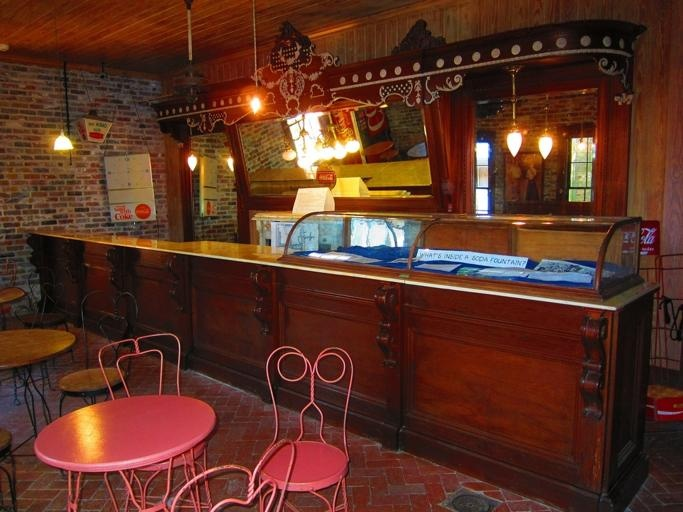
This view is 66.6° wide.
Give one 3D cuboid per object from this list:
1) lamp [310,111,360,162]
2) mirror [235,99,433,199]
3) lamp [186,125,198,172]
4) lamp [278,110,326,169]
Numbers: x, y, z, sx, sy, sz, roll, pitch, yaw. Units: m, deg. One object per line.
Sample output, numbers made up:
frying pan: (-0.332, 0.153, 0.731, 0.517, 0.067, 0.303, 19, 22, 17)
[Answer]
lamp: (-0.130, -1.910, 8.171, 0.958, 0.944, 0.207, 8, 8, 27)
mirror: (-0.052, -1.791, 8.368, 4.100, 1.545, 0.710, 8, 16, 41)
lamp: (-2.779, -1.986, 9.698, 0.196, 0.792, 0.570, -6, 11, -15)
lamp: (-0.596, -1.901, 8.280, 0.735, 0.717, 0.246, 3, 6, 37)
